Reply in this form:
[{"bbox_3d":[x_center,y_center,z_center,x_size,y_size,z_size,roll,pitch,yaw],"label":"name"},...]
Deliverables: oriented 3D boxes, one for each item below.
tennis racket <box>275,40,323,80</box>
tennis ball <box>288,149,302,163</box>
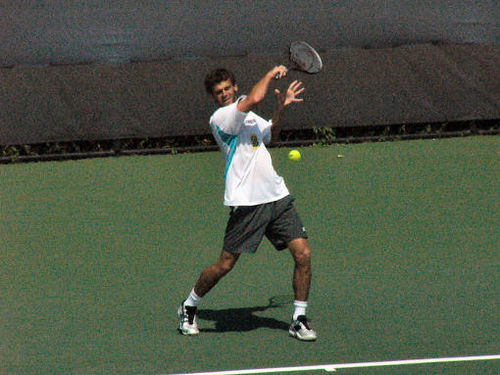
[{"bbox_3d":[0.386,-1.202,8.330,0.488,0.104,0.353,30,4,-16],"label":"tennis racket"},{"bbox_3d":[0.515,-0.359,10.465,0.143,0.160,0.149,-3,10,1],"label":"tennis ball"}]
